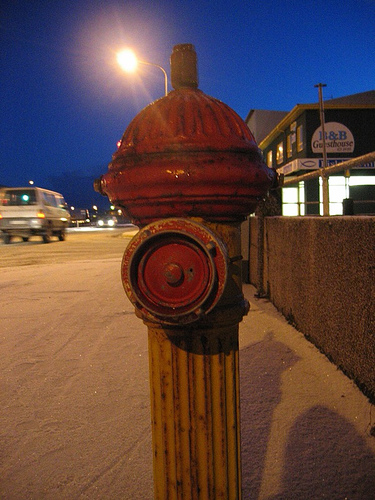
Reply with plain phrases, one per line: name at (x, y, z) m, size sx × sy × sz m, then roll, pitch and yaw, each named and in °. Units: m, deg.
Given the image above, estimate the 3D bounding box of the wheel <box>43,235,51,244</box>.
wheel at (-5.844, -0.474, 16.262) m, size 0.271 × 0.310 × 1.063 m, roll -4°, pitch 6°, yaw -20°

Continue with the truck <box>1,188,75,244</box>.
truck at (-6.124, -1.395, 16.717) m, size 2.234 × 2.143 × 4.031 m, roll -1°, pitch 5°, yaw 6°

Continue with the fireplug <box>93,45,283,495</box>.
fireplug at (-0.018, 0.093, 1.250) m, size 0.455 × 1.576 × 0.479 m, roll 2°, pitch 7°, yaw 33°

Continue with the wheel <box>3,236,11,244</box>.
wheel at (-7.208, -0.439, 15.665) m, size 0.236 × 0.318 × 0.241 m, roll -3°, pitch 0°, yaw 0°

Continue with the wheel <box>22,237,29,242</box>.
wheel at (-7.214, -0.487, 17.414) m, size 0.203 × 0.163 × 0.188 m, roll -4°, pitch -4°, yaw 0°

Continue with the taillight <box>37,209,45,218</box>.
taillight at (-5.557, -1.392, 14.889) m, size 0.237 × 0.259 × 0.438 m, roll 6°, pitch 35°, yaw -22°

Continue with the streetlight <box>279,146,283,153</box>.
streetlight at (6.855, -7.292, 28.536) m, size 0.338 × 0.587 × 0.363 m, roll 1°, pitch 2°, yaw 13°
